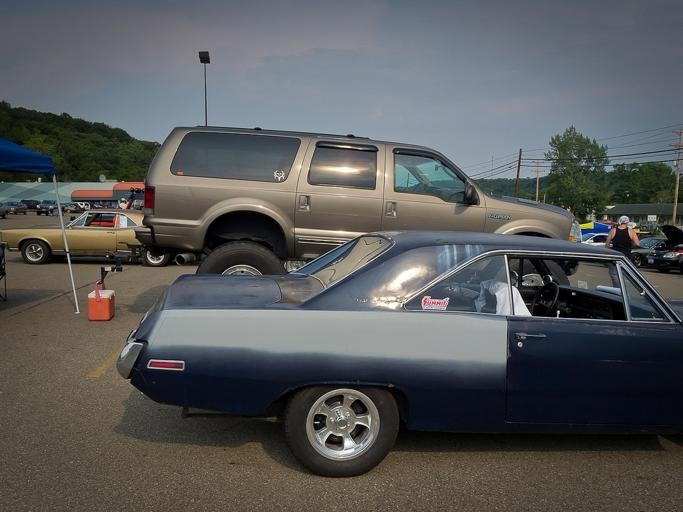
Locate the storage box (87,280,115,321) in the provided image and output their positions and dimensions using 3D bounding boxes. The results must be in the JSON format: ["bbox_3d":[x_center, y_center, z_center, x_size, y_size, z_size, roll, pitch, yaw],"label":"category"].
[{"bbox_3d":[-3.996,0.744,7.905,0.391,0.567,0.375,1,8,-16],"label":"storage box"}]

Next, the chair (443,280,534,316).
[{"bbox_3d":[1.128,0.331,3.763,0.441,0.141,0.503,4,8,11],"label":"chair"}]

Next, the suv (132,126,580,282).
[{"bbox_3d":[0.396,-0.752,8.124,6.971,1.986,2.431,3,14,-9],"label":"suv"}]
